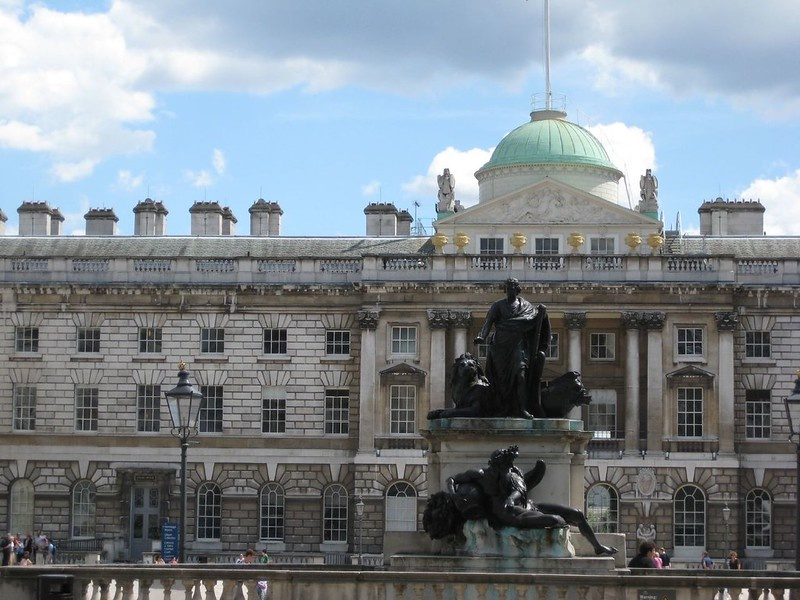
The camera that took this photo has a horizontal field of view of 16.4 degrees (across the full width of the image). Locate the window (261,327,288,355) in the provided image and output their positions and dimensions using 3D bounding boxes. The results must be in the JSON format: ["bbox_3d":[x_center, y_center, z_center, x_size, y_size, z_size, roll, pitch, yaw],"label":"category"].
[{"bbox_3d":[-6.085,2.230,139.351,1.561,1.467,0.164,-1,0,3],"label":"window"}]

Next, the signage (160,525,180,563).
[{"bbox_3d":[-9.889,10.736,122.853,0.683,1.581,1.743,0,-7,-6],"label":"signage"}]

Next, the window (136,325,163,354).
[{"bbox_3d":[-12.235,2.145,139.532,1.584,1.546,0.110,0,5,3],"label":"window"}]

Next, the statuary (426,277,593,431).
[{"bbox_3d":[4.332,2.016,105.762,4.706,5.275,1.741,2,-7,-21],"label":"statuary"}]

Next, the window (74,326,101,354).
[{"bbox_3d":[-15.344,2.134,139.653,1.537,1.495,0.116,1,-3,-4],"label":"window"}]

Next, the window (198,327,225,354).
[{"bbox_3d":[-9.138,2.158,139.455,1.502,1.405,0.077,-1,2,4],"label":"window"}]

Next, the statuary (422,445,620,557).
[{"bbox_3d":[3.919,7.263,103.754,5.788,3.425,1.185,0,-7,0],"label":"statuary"}]

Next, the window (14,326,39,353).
[{"bbox_3d":[-18.375,2.103,139.751,1.428,1.171,0.116,-5,-2,5],"label":"window"}]
